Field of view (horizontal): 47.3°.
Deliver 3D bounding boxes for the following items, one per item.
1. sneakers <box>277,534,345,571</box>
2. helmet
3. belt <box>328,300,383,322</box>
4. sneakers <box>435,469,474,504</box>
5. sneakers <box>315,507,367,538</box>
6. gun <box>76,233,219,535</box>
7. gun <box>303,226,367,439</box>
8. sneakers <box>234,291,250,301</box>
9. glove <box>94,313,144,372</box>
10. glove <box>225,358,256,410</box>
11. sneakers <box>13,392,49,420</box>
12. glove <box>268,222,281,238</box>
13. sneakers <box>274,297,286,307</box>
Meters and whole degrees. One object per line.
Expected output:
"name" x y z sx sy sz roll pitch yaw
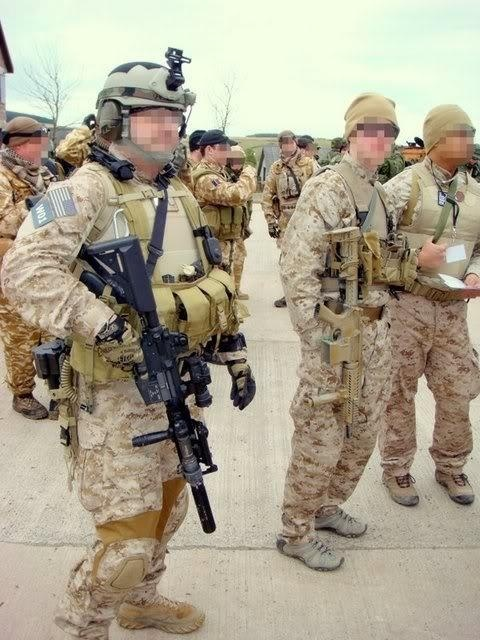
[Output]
"sneakers" 0.345 1.129 2.732 0.316 0.121 0.127 7 8 22
"helmet" -0.323 -0.765 1.939 0.378 0.251 0.295 4 16 -4
"belt" 0.486 -0.040 2.344 0.247 0.087 0.053 10 6 -28
"sneakers" 1.307 0.999 3.309 0.121 0.090 0.219 -4 16 -8
"sneakers" 0.528 1.068 2.944 0.351 0.143 0.119 2 16 3
"gun" -0.283 0.251 1.886 0.397 1.099 0.306 -8 23 -15
"gun" 0.422 0.038 2.281 0.215 0.829 0.391 3 22 10
"sneakers" 0.031 -0.298 6.736 0.199 0.168 0.088 -5 24 -9
"glove" -0.384 0.078 1.746 0.130 0.213 0.164 -13 15 -16
"glove" 0.009 0.275 2.413 0.171 0.195 0.095 3 18 11
"sneakers" -1.524 0.639 3.999 0.297 0.138 0.145 19 33 4
"glove" 0.463 -1.218 7.356 0.162 0.156 0.187 -4 37 9
"sneakers" 0.480 -0.200 6.522 0.079 0.071 0.171 2 2 -22
